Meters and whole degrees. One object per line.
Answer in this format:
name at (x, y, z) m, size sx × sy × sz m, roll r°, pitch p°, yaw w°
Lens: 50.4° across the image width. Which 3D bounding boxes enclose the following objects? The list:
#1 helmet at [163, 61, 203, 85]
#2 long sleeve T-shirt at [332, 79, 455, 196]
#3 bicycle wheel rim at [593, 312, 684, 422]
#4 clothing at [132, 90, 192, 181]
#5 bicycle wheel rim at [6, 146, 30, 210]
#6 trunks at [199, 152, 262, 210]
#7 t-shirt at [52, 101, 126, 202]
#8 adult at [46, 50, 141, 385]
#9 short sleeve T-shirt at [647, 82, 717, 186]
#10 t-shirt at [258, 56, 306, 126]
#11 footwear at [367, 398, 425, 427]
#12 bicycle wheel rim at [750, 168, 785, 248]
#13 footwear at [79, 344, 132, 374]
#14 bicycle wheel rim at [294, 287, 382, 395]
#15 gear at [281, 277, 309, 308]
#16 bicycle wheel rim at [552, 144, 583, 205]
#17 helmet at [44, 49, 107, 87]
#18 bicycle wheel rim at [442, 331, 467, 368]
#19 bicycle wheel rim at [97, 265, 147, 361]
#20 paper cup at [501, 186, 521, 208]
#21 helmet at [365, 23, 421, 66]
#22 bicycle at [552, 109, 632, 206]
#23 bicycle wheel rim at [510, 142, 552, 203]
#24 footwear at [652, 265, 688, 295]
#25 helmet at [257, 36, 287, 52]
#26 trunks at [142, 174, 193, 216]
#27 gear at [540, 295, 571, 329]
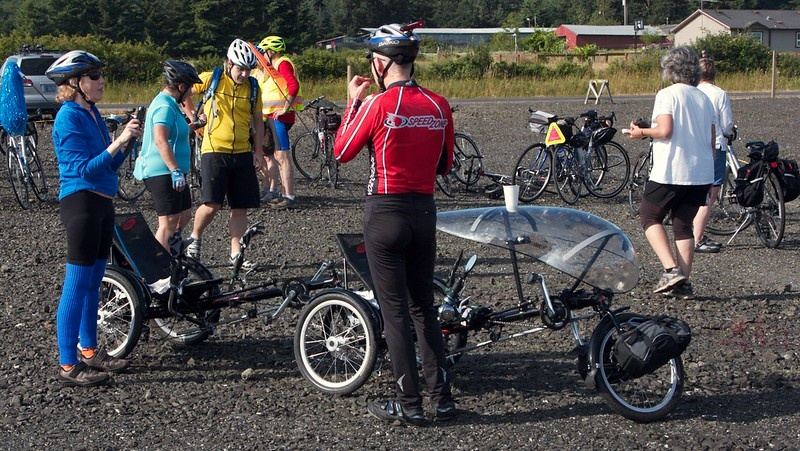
helmet at (-2.883, -2.026, 11.188) m, size 0.419 × 0.154 × 0.298 m, roll 7°, pitch 3°, yaw -1°
long sleeve T-shirt at (-0.081, -1.063, 9.678) m, size 1.606 × 1.421 × 1.163 m, roll -6°, pitch 22°, yaw -17°
bicycle wheel rim at (2.665, 1.621, 9.585) m, size 1.015 × 1.109 × 0.214 m, roll 13°, pitch -4°, yaw 6°
clothing at (-3.167, -1.252, 11.832) m, size 0.978 × 1.410 × 1.271 m, roll -2°, pitch 18°, yaw -15°
bicycle wheel rim at (-6.762, -0.849, 15.076) m, size 0.307 × 1.058 × 0.650 m, roll -9°, pitch 16°, yaw -24°
trunks at (-2.473, -0.631, 12.136) m, size 0.929 × 0.851 × 0.511 m, roll -1°, pitch -5°, yaw -38°
t-shirt at (-3.706, -0.892, 10.233) m, size 0.855 × 1.158 × 0.955 m, roll -1°, pitch 1°, yaw 8°
adult at (-3.620, -0.161, 10.300) m, size 1.234 × 3.778 × 1.086 m, roll -1°, pitch 3°, yaw -2°
short sleeve T-shirt at (3.776, -1.206, 11.345) m, size 0.902 × 1.326 × 0.547 m, roll -1°, pitch 15°, yaw 5°
t-shirt at (-1.933, -2.416, 15.091) m, size 0.577 × 0.953 × 0.637 m, roll -10°, pitch 19°, yaw 10°
footwear at (-0.048, 2.118, 9.687) m, size 0.682 × 0.292 × 0.255 m, roll 11°, pitch 6°, yaw 13°
bicycle wheel rim at (5.738, -0.267, 13.187) m, size 0.504 × 1.096 × 0.894 m, roll -1°, pitch 15°, yaw 5°
footwear at (-3.521, 1.631, 10.263) m, size 0.610 × 0.268 × 0.254 m, roll 2°, pitch 9°, yaw -5°
bicycle wheel rim at (-0.712, 1.352, 9.862) m, size 1.185 × 1.271 × 0.248 m, roll -5°, pitch 3°, yaw 13°
gear at (-1.255, 0.815, 10.150) m, size 0.347 × 0.347 × 0.127 m, roll -2°, pitch 7°, yaw 12°
bicycle wheel rim at (3.047, -0.944, 15.494) m, size 0.514 × 1.025 × 0.829 m, roll 4°, pitch 16°, yaw 21°
helmet at (-3.881, -1.837, 10.059) m, size 0.702 × 0.358 × 0.478 m, roll -8°, pitch 11°, yaw -1°
bicycle wheel rim at (0.640, 1.489, 10.143) m, size 0.129 × 0.408 × 0.414 m, roll 2°, pitch -10°, yaw -38°
bicycle wheel rim at (-3.398, 1.041, 10.335) m, size 1.092 × 1.174 × 0.240 m, roll 7°, pitch 6°, yaw 35°
paper cup at (1.272, -0.315, 9.783) m, size 0.148 × 0.266 × 0.162 m, roll -2°, pitch 15°, yaw 1°
helmet at (-0.101, -2.084, 9.579) m, size 0.591 × 0.454 × 0.821 m, roll -8°, pitch 18°, yaw -40°
bicycle at (3.483, -1.256, 15.911) m, size 1.023 × 1.473 × 2.315 m, roll -4°, pitch 3°, yaw -25°
bicycle wheel rim at (2.381, -0.946, 15.425) m, size 0.731 × 1.027 × 0.503 m, roll -1°, pitch 15°, yaw 4°
footwear at (3.585, 0.745, 11.360) m, size 0.208 × 0.235 × 0.507 m, roll -24°, pitch -7°, yaw -24°
helmet at (-2.239, -3.167, 14.849) m, size 0.434 × 0.238 × 0.295 m, roll -11°, pitch 27°, yaw -6°
trunks at (-3.071, -0.400, 11.523) m, size 0.484 × 0.604 × 0.841 m, roll -1°, pitch 4°, yaw 29°
gear at (1.745, 0.986, 9.593) m, size 0.383 × 0.408 × 0.173 m, roll -2°, pitch -5°, yaw -4°
